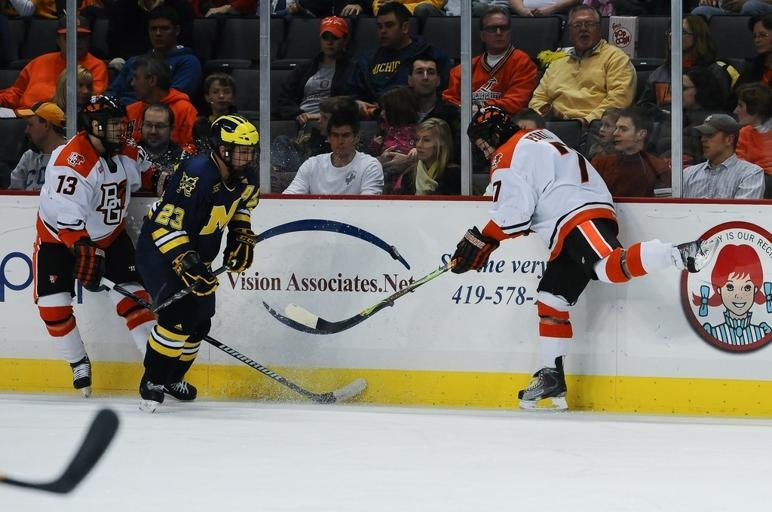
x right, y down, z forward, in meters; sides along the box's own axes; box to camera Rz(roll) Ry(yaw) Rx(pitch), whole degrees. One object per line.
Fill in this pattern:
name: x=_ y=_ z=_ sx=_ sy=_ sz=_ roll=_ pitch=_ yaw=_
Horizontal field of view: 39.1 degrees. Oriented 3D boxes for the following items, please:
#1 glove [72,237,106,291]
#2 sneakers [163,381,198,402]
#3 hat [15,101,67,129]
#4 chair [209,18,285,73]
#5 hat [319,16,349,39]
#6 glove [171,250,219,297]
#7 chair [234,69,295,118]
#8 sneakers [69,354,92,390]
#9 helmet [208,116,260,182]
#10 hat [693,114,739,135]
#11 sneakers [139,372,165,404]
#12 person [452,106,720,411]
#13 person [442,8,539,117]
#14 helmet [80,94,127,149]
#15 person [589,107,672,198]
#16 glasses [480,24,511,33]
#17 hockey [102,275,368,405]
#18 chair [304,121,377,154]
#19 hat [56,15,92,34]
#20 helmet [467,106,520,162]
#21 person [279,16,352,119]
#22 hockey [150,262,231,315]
glove: x=-1.979 y=0.050 z=7.232 sx=0.260 sy=0.303 sz=0.125 roll=5 pitch=4 yaw=-11
sneakers: x=-1.394 y=0.927 z=7.394 sx=0.268 sy=0.109 sz=0.092 roll=8 pitch=45 yaw=-22
hat: x=-2.475 y=-1.004 z=7.795 sx=0.293 sy=0.112 sz=0.180 roll=7 pitch=3 yaw=4
chair: x=-0.976 y=-1.462 z=7.725 sx=0.683 sy=0.442 sz=0.359 roll=1 pitch=5 yaw=8
hat: x=-0.361 y=-1.599 z=7.551 sx=0.139 sy=0.105 sz=0.184 roll=4 pitch=-19 yaw=14
glove: x=-1.222 y=0.106 z=7.071 sx=0.235 sy=0.325 sz=0.139 roll=-33 pitch=14 yaw=16
chair: x=-0.852 y=-1.153 z=7.593 sx=0.381 sy=0.329 sz=0.351 roll=2 pitch=-1 yaw=-3
sneakers: x=-2.104 y=0.820 z=7.514 sx=0.100 sy=0.127 sz=0.292 roll=-12 pitch=13 yaw=-7
helmet: x=-1.015 y=-0.741 z=7.126 sx=0.390 sy=0.345 sz=0.291 roll=12 pitch=6 yaw=32
hat: x=2.186 y=-0.867 z=7.145 sx=0.204 sy=0.093 sz=0.131 roll=2 pitch=1 yaw=6
sneakers: x=-1.525 y=0.877 z=7.061 sx=0.092 sy=0.123 sz=0.264 roll=1 pitch=14 yaw=-23
person: x=1.179 y=0.025 z=7.203 sx=1.426 sy=1.975 sz=0.550 roll=4 pitch=13 yaw=14
person: x=0.834 y=-1.300 z=7.630 sx=0.879 sy=1.022 sz=0.627 roll=1 pitch=8 yaw=11
helmet: x=-1.868 y=-0.919 z=7.439 sx=0.420 sy=0.382 sz=0.333 roll=4 pitch=9 yaw=28
person: x=1.659 y=-0.699 z=7.351 sx=0.293 sy=0.623 sz=0.786 roll=-18 pitch=25 yaw=-40
glasses: x=0.745 y=-1.545 z=7.347 sx=0.180 sy=0.056 sz=0.030 roll=0 pitch=13 yaw=-4
hockey: x=-0.949 y=0.567 z=7.435 sx=1.646 sy=0.181 sz=0.137 roll=28 pitch=1 yaw=13
chair: x=-0.307 y=-0.806 z=7.506 sx=0.361 sy=0.153 sz=0.257 roll=-3 pitch=1 yaw=-19
hat: x=-2.225 y=-1.643 z=7.727 sx=0.239 sy=0.118 sz=0.065 roll=6 pitch=13 yaw=22
helmet: x=0.706 y=-0.880 z=7.357 sx=0.331 sy=0.301 sz=0.263 roll=-8 pitch=5 yaw=15
person: x=-0.461 y=-1.277 z=7.574 sx=0.619 sy=0.772 sz=0.450 roll=6 pitch=13 yaw=8
hockey: x=-1.308 y=0.208 z=7.128 sx=0.392 sy=0.055 sz=0.208 roll=-31 pitch=-11 yaw=5
